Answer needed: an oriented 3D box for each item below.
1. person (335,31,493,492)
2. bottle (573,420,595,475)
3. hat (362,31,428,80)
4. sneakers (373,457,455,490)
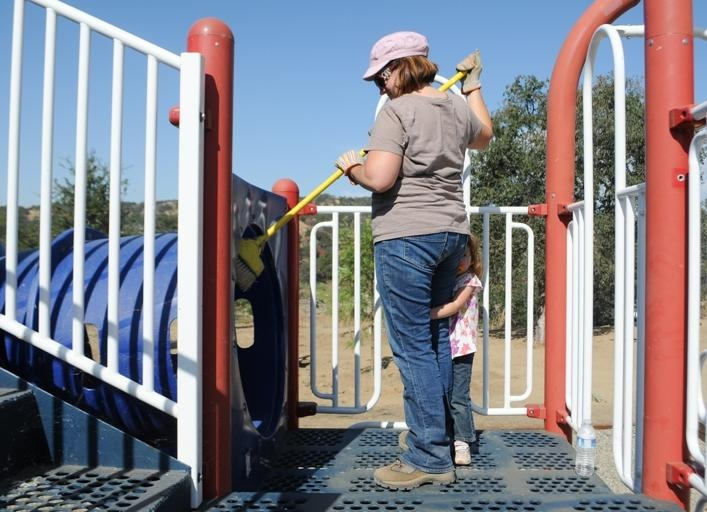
[{"bbox_3d":[0.348,0.006,4.188,0.775,2.174,0.379,1,-6,-33],"label":"person"},{"bbox_3d":[1.149,0.953,4.229,0.104,0.242,0.283,-4,-5,14],"label":"bottle"},{"bbox_3d":[0.208,-1.012,4.269,0.360,0.210,0.279,-5,11,12],"label":"hat"},{"bbox_3d":[0.299,1.037,3.985,0.329,0.187,0.146,5,-3,-4],"label":"sneakers"}]
